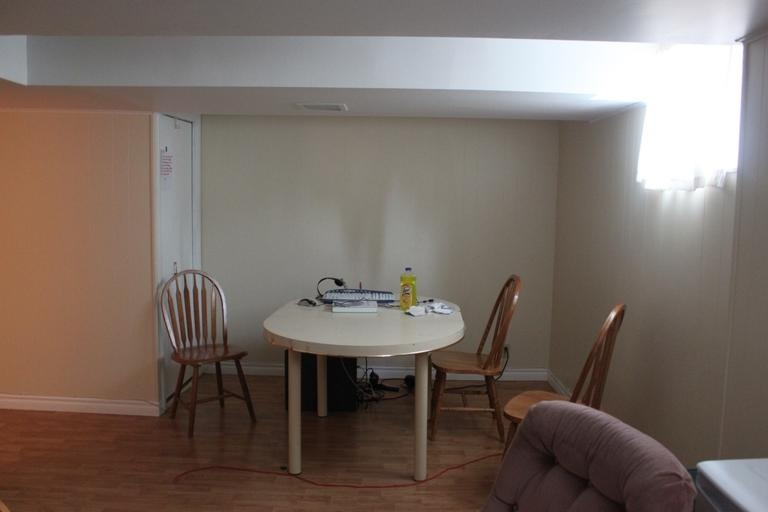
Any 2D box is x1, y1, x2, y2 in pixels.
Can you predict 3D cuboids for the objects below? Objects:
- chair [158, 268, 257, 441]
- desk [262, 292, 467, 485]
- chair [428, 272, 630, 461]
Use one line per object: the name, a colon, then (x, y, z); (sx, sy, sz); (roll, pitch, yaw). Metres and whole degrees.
chair: (-1.424, 0.660, 4.674); (0.678, 1.118, 1.067); (-2, 10, -21)
desk: (-0.142, 0.910, 4.007); (1.306, 0.985, 0.873); (2, 9, 7)
chair: (0.931, 0.738, 4.340); (1.414, 1.693, 0.890); (5, 5, 17)
